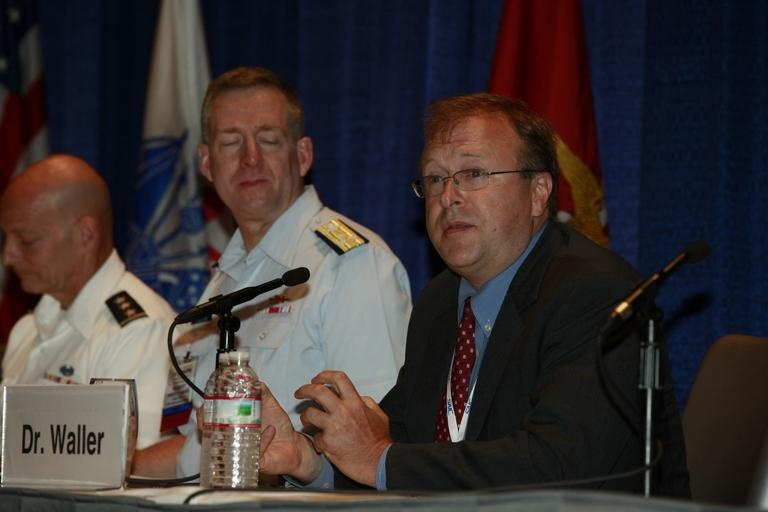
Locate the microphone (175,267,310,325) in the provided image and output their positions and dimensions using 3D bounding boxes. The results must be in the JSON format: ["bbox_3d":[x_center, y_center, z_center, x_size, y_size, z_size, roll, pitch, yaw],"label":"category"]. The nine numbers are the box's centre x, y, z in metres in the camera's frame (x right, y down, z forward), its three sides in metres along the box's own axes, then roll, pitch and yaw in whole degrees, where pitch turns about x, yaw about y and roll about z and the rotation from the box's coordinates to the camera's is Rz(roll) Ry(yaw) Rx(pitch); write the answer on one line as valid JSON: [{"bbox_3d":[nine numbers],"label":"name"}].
[{"bbox_3d":[-0.654,0.198,4.378,0.567,0.106,0.088,-21,28,-18],"label":"microphone"}]

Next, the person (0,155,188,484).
[{"bbox_3d":[-1.473,0.320,4.656,0.828,1.577,1.550,2,-4,-28],"label":"person"}]
